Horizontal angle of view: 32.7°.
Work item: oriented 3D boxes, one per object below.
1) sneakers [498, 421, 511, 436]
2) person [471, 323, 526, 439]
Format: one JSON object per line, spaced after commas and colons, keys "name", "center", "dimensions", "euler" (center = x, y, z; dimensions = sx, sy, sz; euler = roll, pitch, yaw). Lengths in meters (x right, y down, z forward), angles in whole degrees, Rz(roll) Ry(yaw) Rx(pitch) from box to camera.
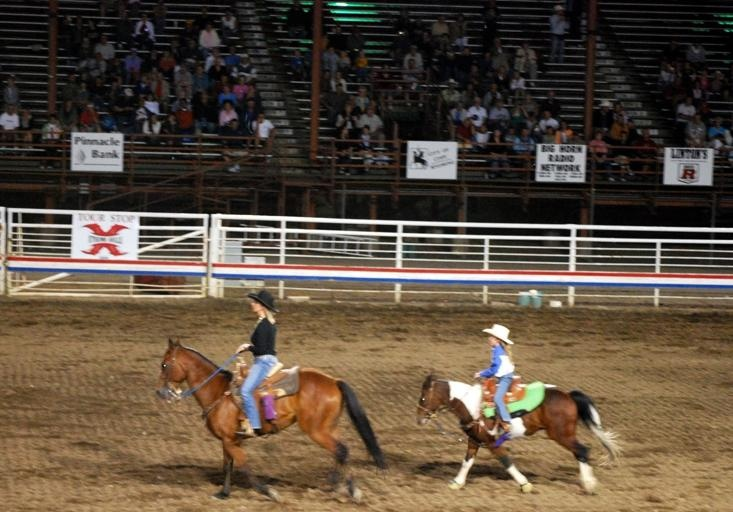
{"name": "sneakers", "center": [2.701, 3.382, 24.251], "dimensions": [0.254, 0.203, 0.267], "euler": [1, -9, 5]}
{"name": "person", "center": [2.593, 2.565, 24.364], "dimensions": [0.638, 2.364, 0.483], "euler": [-3, 3, -34]}
